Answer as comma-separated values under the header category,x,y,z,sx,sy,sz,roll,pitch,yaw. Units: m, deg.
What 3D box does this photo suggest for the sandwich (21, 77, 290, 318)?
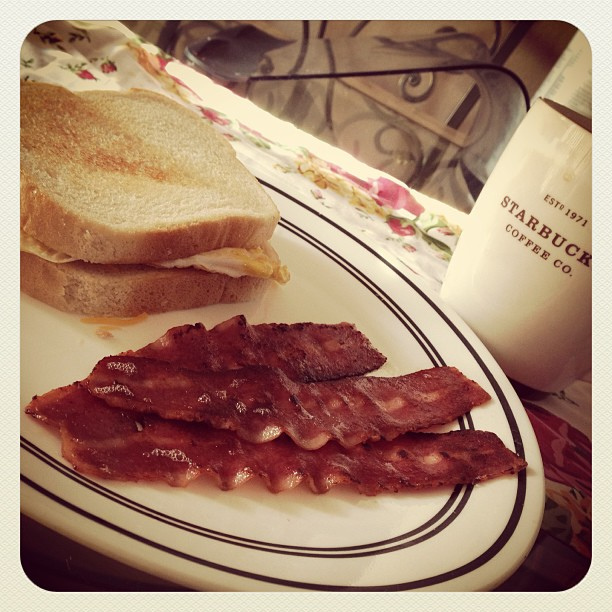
category,x,y,z,sx,sy,sz,roll,pitch,yaw
sandwich,-0.220,-0.186,1.251,0.606,0.175,0.499,-8,59,-28

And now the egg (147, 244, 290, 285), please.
category,x,y,z,sx,sy,sz,roll,pitch,yaw
egg,-0.167,-0.117,1.249,0.238,0.070,0.188,19,27,41
